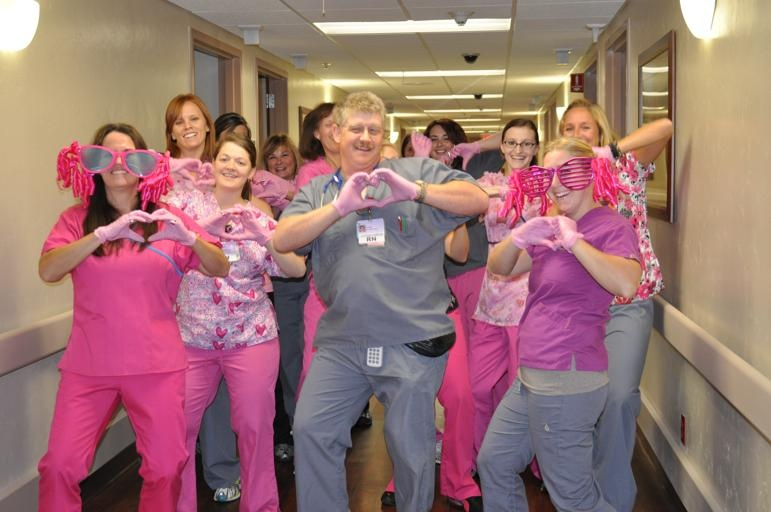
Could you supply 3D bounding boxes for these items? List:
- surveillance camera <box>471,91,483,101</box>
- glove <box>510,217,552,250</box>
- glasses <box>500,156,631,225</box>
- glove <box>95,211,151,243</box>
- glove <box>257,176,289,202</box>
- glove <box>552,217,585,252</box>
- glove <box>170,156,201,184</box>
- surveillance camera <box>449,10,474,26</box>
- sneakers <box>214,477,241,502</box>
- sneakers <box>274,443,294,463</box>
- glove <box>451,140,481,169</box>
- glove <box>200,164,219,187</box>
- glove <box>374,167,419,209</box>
[{"bbox_3d":[1.998,-3.512,11.664,0.210,0.057,0.201,0,-5,-3],"label":"surveillance camera"},{"bbox_3d":[0.683,-0.103,2.493,0.127,0.170,0.226,-8,13,-33],"label":"glove"},{"bbox_3d":[0.836,-0.333,2.582,0.513,0.219,0.166,-5,-4,34],"label":"glasses"},{"bbox_3d":[-1.275,-0.137,2.620,0.192,0.115,0.097,-21,-8,-3],"label":"glove"},{"bbox_3d":[-0.880,-0.534,4.214,0.203,0.091,0.167,4,-3,15],"label":"glove"},{"bbox_3d":[0.785,-0.099,2.314,0.112,0.060,0.153,5,53,25],"label":"glove"},{"bbox_3d":[-1.141,-0.490,3.066,0.153,0.128,0.256,8,6,-17],"label":"glove"},{"bbox_3d":[0.782,-2.446,5.489,0.242,0.097,0.319,0,11,10],"label":"surveillance camera"},{"bbox_3d":[-1.017,1.549,3.551,0.239,0.105,0.088,9,-11,-37],"label":"sneakers"},{"bbox_3d":[-0.742,1.459,3.979,0.095,0.046,0.111,1,51,-1],"label":"sneakers"},{"bbox_3d":[0.638,-0.801,4.199,0.212,0.219,0.087,21,-12,35],"label":"glove"},{"bbox_3d":[-1.047,-0.483,3.189,0.040,0.118,0.115,0,6,23],"label":"glove"},{"bbox_3d":[0.065,-0.337,2.498,0.199,0.164,0.068,23,46,-5],"label":"glove"}]
